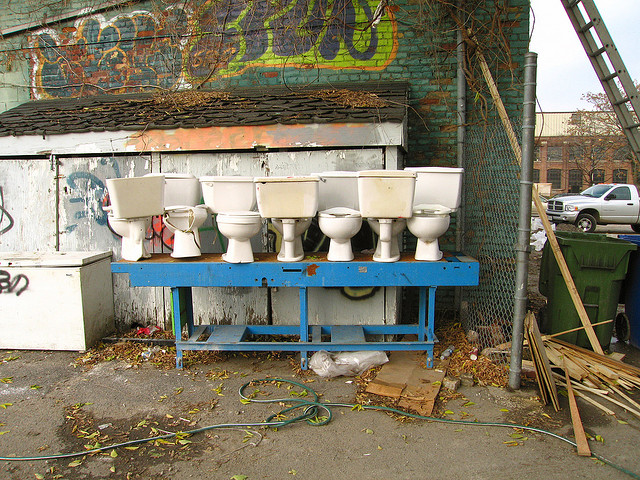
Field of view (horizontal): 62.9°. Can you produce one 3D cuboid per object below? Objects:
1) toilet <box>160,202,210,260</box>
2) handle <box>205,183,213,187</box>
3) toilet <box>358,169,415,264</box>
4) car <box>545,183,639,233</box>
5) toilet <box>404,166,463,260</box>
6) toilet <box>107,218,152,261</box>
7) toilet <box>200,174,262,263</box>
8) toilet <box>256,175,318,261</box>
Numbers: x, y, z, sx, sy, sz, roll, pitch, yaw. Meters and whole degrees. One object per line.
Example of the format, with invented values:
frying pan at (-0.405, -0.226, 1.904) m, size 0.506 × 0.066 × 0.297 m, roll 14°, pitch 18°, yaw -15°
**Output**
toilet at (-1.521, -0.098, 5.919) m, size 0.566 × 0.556 × 0.582 m, roll -2°, pitch 5°, yaw -14°
handle at (-1.216, -0.608, 5.770) m, size 0.100 × 0.046 × 0.009 m, roll 2°, pitch 7°, yaw 36°
toilet at (0.711, -0.247, 5.470) m, size 0.555 × 0.976 × 0.345 m, roll -1°, pitch 6°, yaw 9°
car at (7.764, -0.925, 14.888) m, size 2.217 × 1.302 × 1.015 m, roll 1°, pitch 6°, yaw 31°
toilet at (1.198, -0.310, 5.831) m, size 0.712 × 0.991 × 1.004 m, roll 4°, pitch 14°, yaw 18°
toilet at (-2.096, -0.028, 5.895) m, size 0.504 × 0.490 × 0.549 m, roll -8°, pitch 9°, yaw -41°
toilet at (-0.945, -0.256, 5.835) m, size 0.606 × 0.931 × 0.990 m, roll -3°, pitch 7°, yaw -23°
toilet at (-0.319, -0.238, 5.853) m, size 0.668 × 0.925 × 0.944 m, roll -1°, pitch 5°, yaw 1°
